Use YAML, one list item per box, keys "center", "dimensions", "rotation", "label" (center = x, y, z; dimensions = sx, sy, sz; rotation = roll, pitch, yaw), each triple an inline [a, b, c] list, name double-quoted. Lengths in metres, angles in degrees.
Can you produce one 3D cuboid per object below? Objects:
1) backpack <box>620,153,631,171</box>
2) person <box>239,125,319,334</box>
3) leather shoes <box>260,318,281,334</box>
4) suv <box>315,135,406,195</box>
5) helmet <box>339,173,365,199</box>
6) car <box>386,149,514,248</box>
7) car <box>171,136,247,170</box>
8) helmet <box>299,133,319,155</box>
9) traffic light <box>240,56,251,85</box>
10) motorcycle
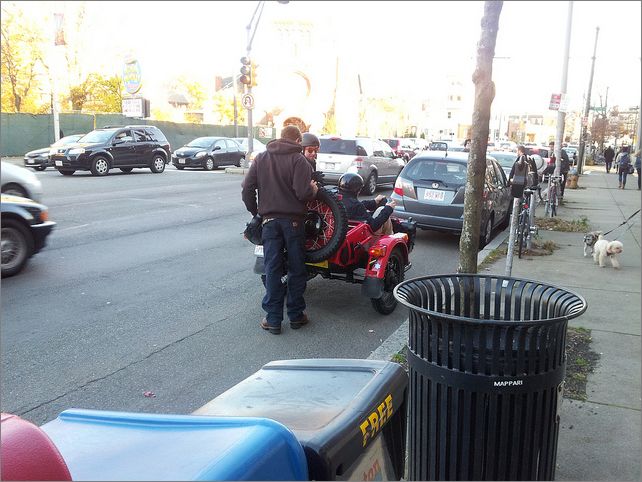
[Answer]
- center: [14.322, -3.675, 22.830]
  dimensions: [0.376, 0.828, 0.808]
  rotation: [8, 15, 28]
  label: "backpack"
- center: [-0.474, -0.132, 5.726]
  dimensions: [0.778, 2.335, 0.640]
  rotation: [14, 18, 43]
  label: "person"
- center: [-0.597, 1.005, 5.739]
  dimensions: [0.107, 0.115, 0.245]
  rotation: [-5, 21, -29]
  label: "leather shoes"
- center: [1.618, -2.873, 18.048]
  dimensions: [1.880, 1.569, 4.025]
  rotation: [7, 17, 29]
  label: "suv"
- center: [0.426, -0.759, 6.681]
  dimensions: [0.285, 0.307, 0.324]
  rotation: [2, 8, 0]
  label: "helmet"
- center: [3.212, -1.118, 11.088]
  dimensions: [1.681, 1.460, 3.002]
  rotation: [6, 17, 29]
  label: "car"
- center: [-5.846, -4.548, 25.542]
  dimensions: [1.498, 1.613, 3.580]
  rotation: [13, 17, 40]
  label: "car"
- center: [-0.162, -1.242, 6.279]
  dimensions: [0.248, 0.258, 0.296]
  rotation: [0, 6, -3]
  label: "helmet"
- center: [-3.195, -7.116, 20.406]
  dimensions: [0.408, 1.098, 0.927]
  rotation: [0, 13, -4]
  label: "traffic light"
- center: [0.361, 0.161, 6.129]
  dimensions: [1.347, 1.020, 2.096]
  rotation: [7, 18, 28]
  label: "motorcycle"
